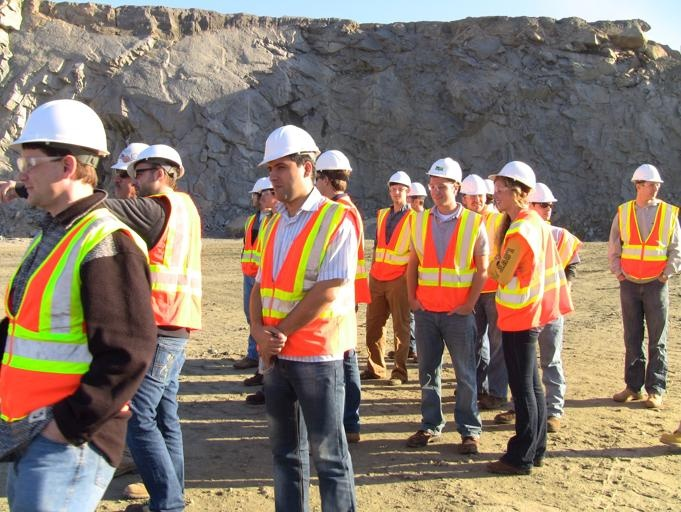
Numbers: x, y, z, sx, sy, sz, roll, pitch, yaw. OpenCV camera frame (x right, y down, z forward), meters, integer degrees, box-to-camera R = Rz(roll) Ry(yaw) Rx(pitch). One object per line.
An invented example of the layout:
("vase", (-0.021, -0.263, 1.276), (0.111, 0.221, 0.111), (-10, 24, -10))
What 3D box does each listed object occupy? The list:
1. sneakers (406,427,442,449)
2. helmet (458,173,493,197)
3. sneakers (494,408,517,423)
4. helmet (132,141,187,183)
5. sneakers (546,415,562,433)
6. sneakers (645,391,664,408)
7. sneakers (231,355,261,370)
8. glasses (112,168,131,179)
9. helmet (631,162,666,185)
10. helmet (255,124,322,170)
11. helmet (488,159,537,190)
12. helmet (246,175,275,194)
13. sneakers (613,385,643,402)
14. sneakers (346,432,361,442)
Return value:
("sneakers", (1.201, 2.684, 14.806), (0.540, 0.217, 0.216), (0, -5, -27))
("helmet", (2.159, -1.130, 16.485), (0.401, 0.263, 0.498), (1, 1, -1))
("sneakers", (2.524, 2.466, 15.412), (0.329, 0.133, 0.154), (2, -5, -23))
("helmet", (-2.442, -1.339, 13.783), (0.594, 0.325, 0.451), (20, -30, -5))
("sneakers", (3.211, 2.536, 15.187), (0.264, 0.257, 0.165), (1, -8, -1))
("sneakers", (4.959, 2.260, 15.892), (0.292, 0.262, 0.240), (2, 0, 4))
("sneakers", (-1.685, 1.852, 17.461), (0.585, 0.242, 0.205), (2, -6, -19))
("glasses", (-3.036, -1.131, 14.012), (0.207, 0.089, 0.211), (4, -5, -10))
("helmet", (4.909, -1.304, 16.425), (0.439, 0.286, 0.520), (2, 4, -21))
("helmet", (-0.607, -1.396, 13.141), (0.702, 0.379, 0.508), (-2, -4, -37))
("helmet", (2.563, -1.233, 14.464), (0.518, 0.271, 0.407), (24, -1, -2))
("helmet", (-1.368, -1.182, 17.288), (0.606, 0.322, 0.443), (-3, 5, -39))
("sneakers", (4.585, 2.206, 16.061), (0.421, 0.169, 0.198), (4, -10, -11))
("sneakers", (0.188, 2.670, 14.919), (0.167, 0.134, 0.140), (1, 3, -9))
